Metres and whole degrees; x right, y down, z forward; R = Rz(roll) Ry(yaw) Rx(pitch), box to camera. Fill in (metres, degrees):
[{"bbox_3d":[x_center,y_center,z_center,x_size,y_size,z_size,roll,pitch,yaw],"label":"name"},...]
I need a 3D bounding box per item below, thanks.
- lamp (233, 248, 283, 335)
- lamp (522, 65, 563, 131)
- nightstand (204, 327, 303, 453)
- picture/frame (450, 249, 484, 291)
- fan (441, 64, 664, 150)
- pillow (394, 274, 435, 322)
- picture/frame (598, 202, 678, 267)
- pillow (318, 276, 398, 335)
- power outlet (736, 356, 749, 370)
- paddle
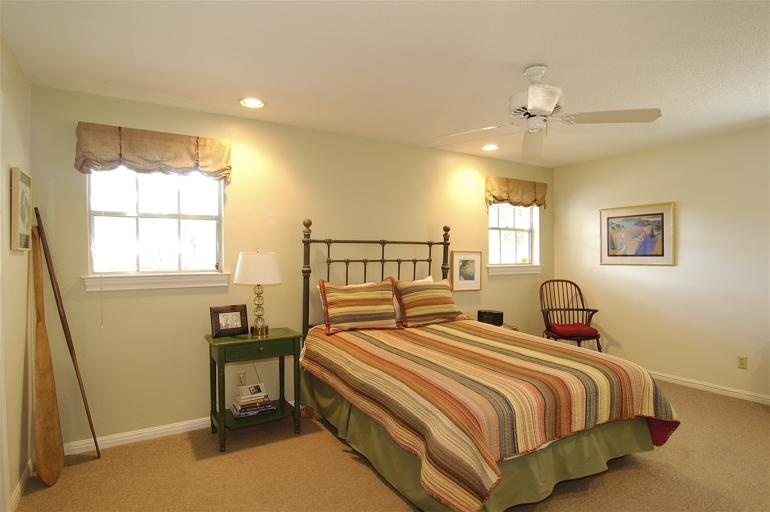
[{"bbox_3d":[-1.240,0.358,5.087,0.415,0.796,0.478,0,2,-19],"label":"lamp"},{"bbox_3d":[1.271,-1.308,4.221,0.284,0.559,0.619,1,1,14],"label":"lamp"},{"bbox_3d":[-1.231,1.246,5.023,0.871,1.022,0.666,0,2,-23],"label":"nightstand"},{"bbox_3d":[1.003,0.176,6.510,0.547,0.504,0.054,2,-4,-34],"label":"picture/frame"},{"bbox_3d":[1.369,-1.142,4.474,1.071,0.368,0.990,0,-10,-2],"label":"fan"},{"bbox_3d":[0.348,0.477,5.458,0.431,0.396,0.127,-2,-17,-21],"label":"pillow"},{"bbox_3d":[3.121,-0.261,6.378,0.062,0.720,0.849,4,-4,-42],"label":"picture/frame"},{"bbox_3d":[-0.250,0.521,5.377,0.780,0.518,0.269,-2,-1,-16],"label":"pillow"},{"bbox_3d":[3.844,1.146,5.628,0.022,0.201,0.151,5,-5,-14],"label":"power outlet"},{"bbox_3d":[-2.831,0.813,4.411,0.220,2.120,0.474,-1,3,-32],"label":"paddle"}]
